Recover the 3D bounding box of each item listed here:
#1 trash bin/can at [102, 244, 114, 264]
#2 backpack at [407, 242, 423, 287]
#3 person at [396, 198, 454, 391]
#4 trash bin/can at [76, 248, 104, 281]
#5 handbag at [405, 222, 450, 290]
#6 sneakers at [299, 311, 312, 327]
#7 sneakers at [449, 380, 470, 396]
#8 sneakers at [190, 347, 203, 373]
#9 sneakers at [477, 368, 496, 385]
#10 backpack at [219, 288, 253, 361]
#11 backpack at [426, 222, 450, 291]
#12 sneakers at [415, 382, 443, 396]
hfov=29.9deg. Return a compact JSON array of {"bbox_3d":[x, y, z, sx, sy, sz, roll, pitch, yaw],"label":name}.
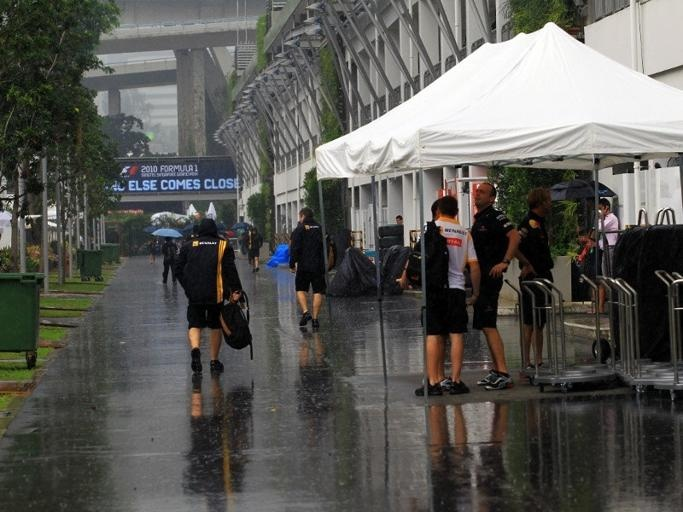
[{"bbox_3d":[-11.579,-0.094,63.235,0.754,1.097,0.926,0,-2,9],"label":"trash bin/can"},{"bbox_3d":[0.882,0.156,16.549,0.152,0.457,0.320,10,13,13],"label":"backpack"},{"bbox_3d":[1.079,0.522,16.669,0.811,2.554,0.718,5,-3,-8],"label":"person"},{"bbox_3d":[-8.409,0.289,42.099,0.839,1.136,0.932,2,2,24],"label":"trash bin/can"},{"bbox_3d":[1.224,-0.094,16.585,0.483,0.768,0.515,-4,-5,13],"label":"handbag"},{"bbox_3d":[-0.698,1.246,23.788,0.130,0.187,0.370,8,-39,-21],"label":"sneakers"},{"bbox_3d":[1.499,1.720,16.598,0.119,0.144,0.318,-3,-12,29],"label":"sneakers"},{"bbox_3d":[-2.101,1.503,18.451,0.128,0.380,0.154,-3,-1,-3],"label":"sneakers"},{"bbox_3d":[1.976,1.618,17.001,0.120,0.149,0.362,4,6,37],"label":"sneakers"},{"bbox_3d":[-1.552,0.921,18.610,0.385,0.773,0.561,-7,0,-11],"label":"backpack"},{"bbox_3d":[1.211,0.007,16.414,0.303,0.859,0.142,-1,-2,4],"label":"backpack"},{"bbox_3d":[1.108,1.728,16.537,0.337,0.156,0.163,2,-1,11],"label":"sneakers"}]
